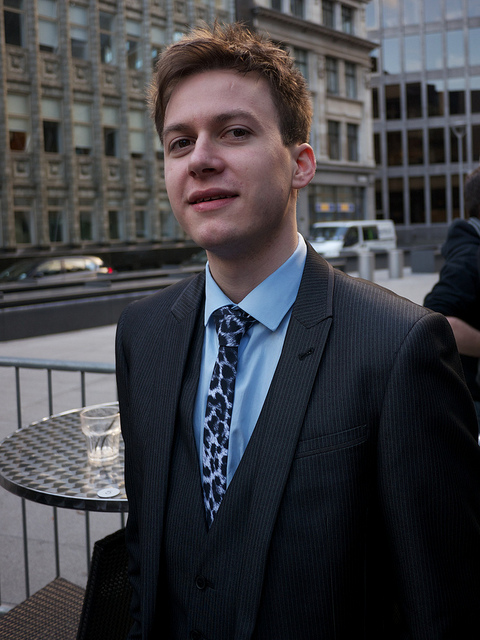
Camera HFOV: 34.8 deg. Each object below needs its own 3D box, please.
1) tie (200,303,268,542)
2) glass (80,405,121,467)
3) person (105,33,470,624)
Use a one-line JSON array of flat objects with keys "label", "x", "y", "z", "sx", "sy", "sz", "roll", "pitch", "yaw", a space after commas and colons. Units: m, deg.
[{"label": "tie", "x": -0.023, "y": 0.209, "z": 1.670, "sx": 0.132, "sy": 0.525, "sz": 0.056, "roll": 10, "pitch": -14, "yaw": -7}, {"label": "glass", "x": -0.504, "y": 0.402, "z": 2.789, "sx": 0.135, "sy": 0.204, "sz": 0.155, "roll": 3, "pitch": 15, "yaw": 11}, {"label": "person", "x": 0.016, "y": 0.022, "z": 1.765, "sx": 0.861, "sy": 1.186, "sz": 0.450, "roll": -17, "pitch": -6, "yaw": 38}]
